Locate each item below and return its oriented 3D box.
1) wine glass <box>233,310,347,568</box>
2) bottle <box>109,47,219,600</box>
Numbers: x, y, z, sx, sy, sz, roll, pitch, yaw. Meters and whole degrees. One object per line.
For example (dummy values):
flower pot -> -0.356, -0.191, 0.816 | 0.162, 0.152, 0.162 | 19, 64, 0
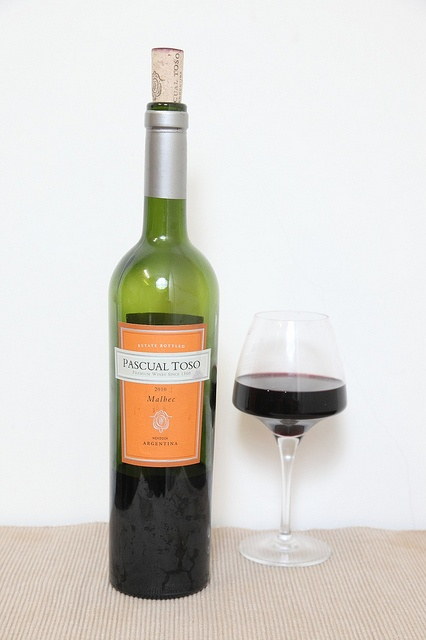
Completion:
wine glass -> 0.097, 0.142, 0.691 | 0.141, 0.301, 0.175 | 2, 2, 41
bottle -> -0.052, 0.002, 0.569 | 0.112, 0.554, 0.125 | 1, 1, -2
